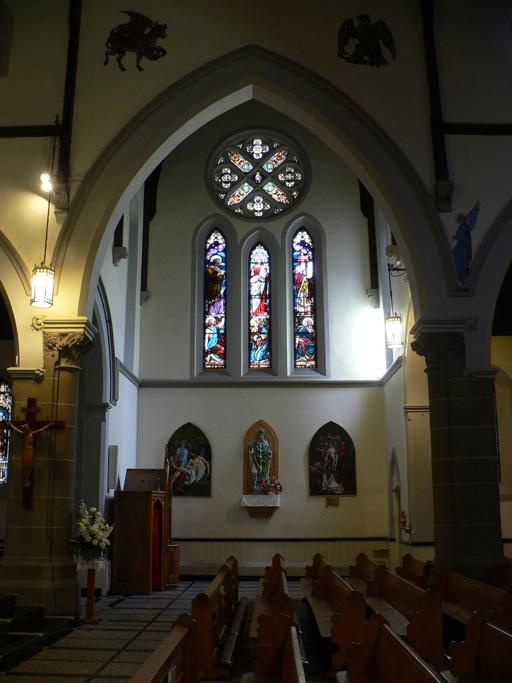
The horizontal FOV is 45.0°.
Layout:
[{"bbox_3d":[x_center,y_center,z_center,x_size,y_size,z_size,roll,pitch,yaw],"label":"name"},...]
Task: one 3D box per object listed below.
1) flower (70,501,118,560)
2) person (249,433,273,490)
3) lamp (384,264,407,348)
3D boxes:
[{"bbox_3d":[-1.871,2.187,7.010,0.419,0.628,0.569,2,-12,-15],"label":"flower"},{"bbox_3d":[0.103,2.578,12.728,0.467,0.999,0.352,-1,-11,0],"label":"person"},{"bbox_3d":[2.559,-0.661,11.305,0.384,1.851,1.947,-3,-12,12],"label":"lamp"}]
